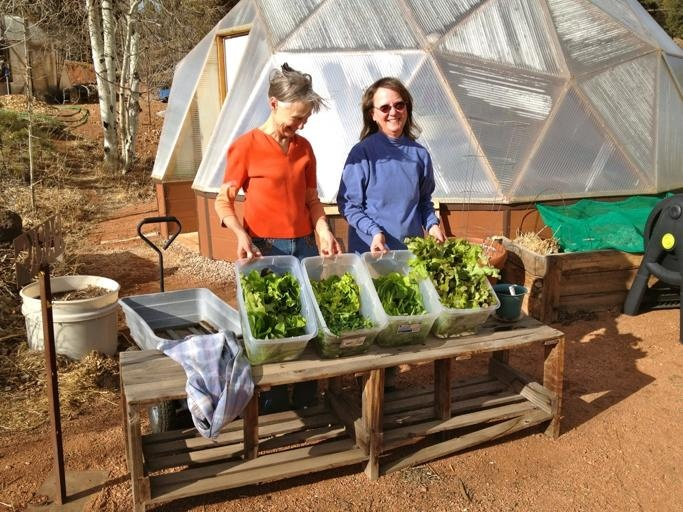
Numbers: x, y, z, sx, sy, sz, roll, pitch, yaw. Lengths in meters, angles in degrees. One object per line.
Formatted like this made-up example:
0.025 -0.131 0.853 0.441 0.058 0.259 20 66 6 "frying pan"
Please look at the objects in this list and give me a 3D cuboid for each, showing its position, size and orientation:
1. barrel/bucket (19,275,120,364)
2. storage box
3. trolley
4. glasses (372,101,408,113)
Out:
-2.984 0.693 5.805 0.868 0.796 0.808 4 16 -1 "barrel/bucket"
0.109 0.349 3.997 1.749 0.975 0.429 -7 -18 -25 "storage box"
-1.783 0.379 5.220 0.815 1.428 1.368 -3 3 -15 "trolley"
0.433 -1.294 4.482 0.237 0.112 0.079 0 16 -14 "glasses"
